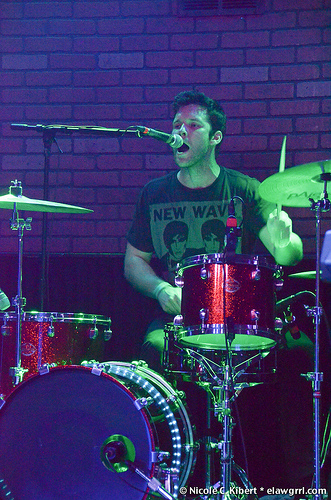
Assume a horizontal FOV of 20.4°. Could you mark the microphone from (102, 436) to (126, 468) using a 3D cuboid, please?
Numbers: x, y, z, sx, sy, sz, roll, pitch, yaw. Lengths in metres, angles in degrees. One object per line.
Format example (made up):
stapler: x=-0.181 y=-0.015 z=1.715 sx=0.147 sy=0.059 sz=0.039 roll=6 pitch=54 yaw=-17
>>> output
microphone: x=-0.189 y=0.752 z=3.431 sx=0.096 sy=0.107 sz=0.107 roll=-4 pitch=-10 yaw=2

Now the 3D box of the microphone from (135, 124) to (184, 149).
microphone: x=-0.023 y=-0.510 z=3.979 sx=0.082 sy=0.066 sz=0.239 roll=-22 pitch=-21 yaw=36

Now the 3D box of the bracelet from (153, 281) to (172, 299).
bracelet: x=-0.015 y=0.182 z=4.193 sx=0.066 sy=0.083 sz=0.126 roll=0 pitch=-2 yaw=-11

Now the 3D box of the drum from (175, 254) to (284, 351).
drum: x=0.258 y=0.213 z=3.646 sx=0.394 sy=0.390 sz=0.366 roll=1 pitch=-2 yaw=-22

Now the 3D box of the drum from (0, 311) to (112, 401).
drum: x=-0.451 y=0.441 z=3.841 sx=0.363 sy=0.268 sz=0.341 roll=1 pitch=-6 yaw=0
